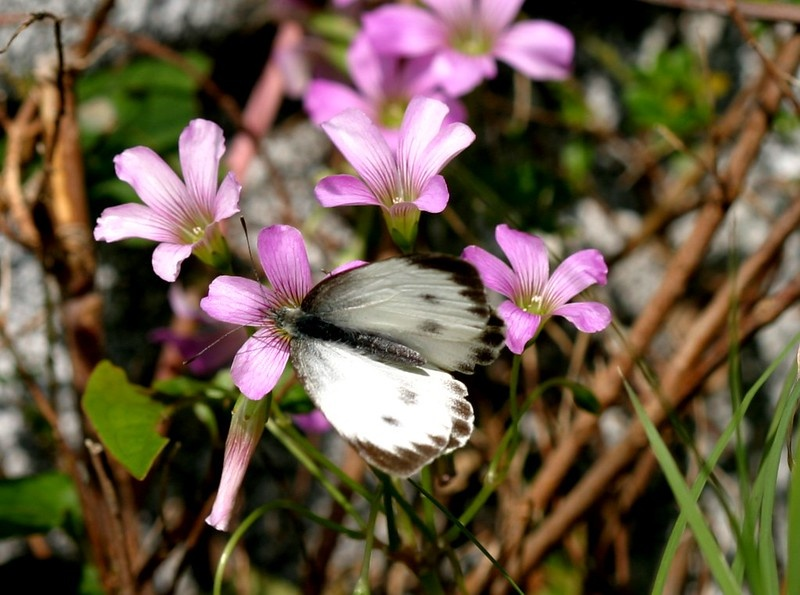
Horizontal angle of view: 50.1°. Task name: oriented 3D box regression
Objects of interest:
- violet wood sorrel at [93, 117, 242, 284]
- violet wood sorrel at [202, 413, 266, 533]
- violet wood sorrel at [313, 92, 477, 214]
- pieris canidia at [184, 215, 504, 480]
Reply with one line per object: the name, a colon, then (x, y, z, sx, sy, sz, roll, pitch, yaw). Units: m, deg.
violet wood sorrel: (-0.380, -0.167, 1.541, 0.243, 0.165, 0.317, -2, 73, 29)
violet wood sorrel: (-0.288, 0.291, 1.520, 0.062, 0.066, 0.237, -3, 61, 48)
violet wood sorrel: (-0.009, -0.235, 1.496, 0.201, 0.117, 0.248, -19, 51, 11)
pieris canidia: (-0.082, 0.052, 1.428, 0.498, 0.138, 0.353, 26, 79, 3)
